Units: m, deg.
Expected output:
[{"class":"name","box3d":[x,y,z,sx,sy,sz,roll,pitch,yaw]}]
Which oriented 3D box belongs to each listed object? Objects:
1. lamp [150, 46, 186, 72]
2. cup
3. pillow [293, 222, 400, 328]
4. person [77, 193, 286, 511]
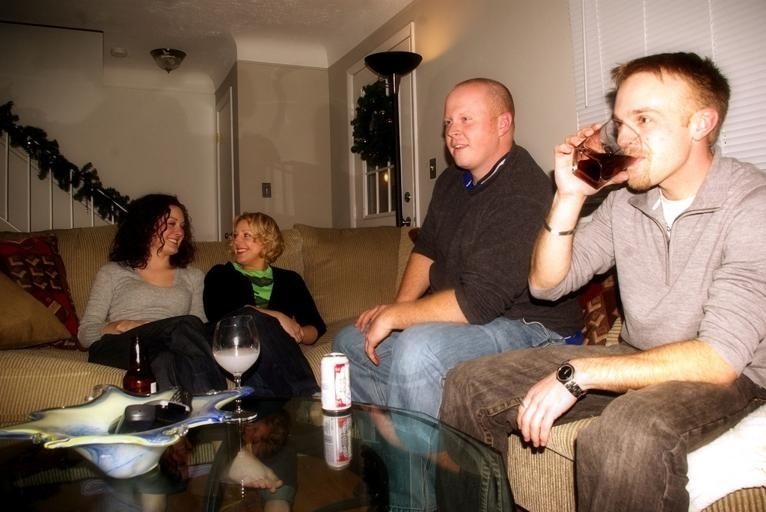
[{"class":"lamp","box3d":[-2.235,-2.068,5.912,0.294,0.142,0.290,2,18,2]},{"class":"cup","box3d":[0.708,-0.328,1.833,0.161,0.225,0.224,-6,9,-19]},{"class":"pillow","box3d":[-0.195,0.112,3.358,0.638,0.587,0.143,-8,3,-22]},{"class":"person","box3d":[-0.805,0.354,2.219,0.459,1.053,0.987,15,-33,-33]}]
